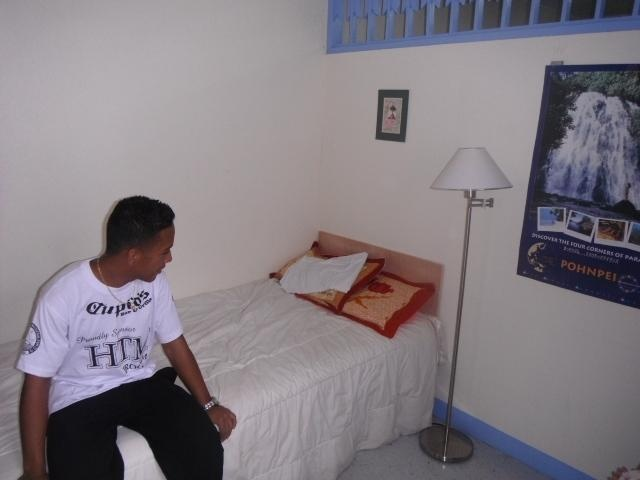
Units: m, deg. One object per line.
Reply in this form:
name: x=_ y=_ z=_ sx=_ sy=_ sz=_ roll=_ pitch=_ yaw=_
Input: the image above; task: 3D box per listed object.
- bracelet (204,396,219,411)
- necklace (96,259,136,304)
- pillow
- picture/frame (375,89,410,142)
bracelet: x=-0.540 y=0.809 z=2.396 sx=0.056 sy=0.041 sz=0.061 roll=-30 pitch=-5 yaw=-4
necklace: x=-0.901 y=0.179 z=2.085 sx=0.125 sy=0.184 sz=0.042 roll=-21 pitch=10 yaw=-41
pillow: x=0.256 y=0.276 z=3.309 sx=0.799 sy=0.121 sz=0.461 roll=26 pitch=53 yaw=34
picture/frame: x=0.522 y=-0.895 z=3.416 sx=0.288 sy=0.410 sz=0.026 roll=21 pitch=29 yaw=37
